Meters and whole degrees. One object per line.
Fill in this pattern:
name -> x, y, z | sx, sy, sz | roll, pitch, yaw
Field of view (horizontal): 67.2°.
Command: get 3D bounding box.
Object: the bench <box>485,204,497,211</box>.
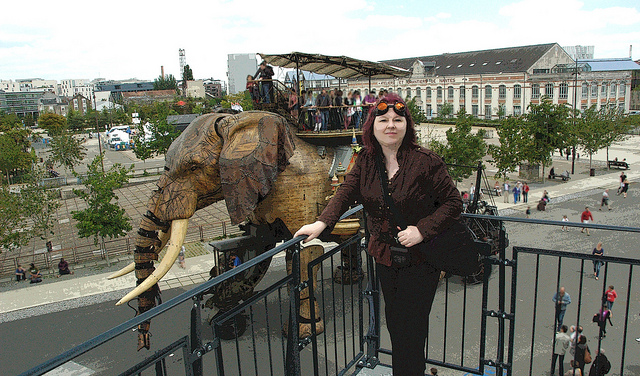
bench -> 10.548, 1.267, 29.938 | 0.483, 0.407, 0.936 | 11, 19, 43

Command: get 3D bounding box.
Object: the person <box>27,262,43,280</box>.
person -> -18.891, 5.533, 31.968 | 0.682, 1.006, 0.799 | 7, 27, 46

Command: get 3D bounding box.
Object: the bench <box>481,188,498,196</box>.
bench -> 13.849, 0.312, 39.622 | 1.128, 0.265, 1.128 | 2, 6, 38

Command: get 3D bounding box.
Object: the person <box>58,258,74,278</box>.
person -> -17.072, 5.347, 32.247 | 1.067, 0.981, 1.090 | 11, 17, 43

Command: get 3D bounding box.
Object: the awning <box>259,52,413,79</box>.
awning -> 0.742, -6.905, 27.327 | 7.053, 1.493, 3.541 | -9, 15, -26
